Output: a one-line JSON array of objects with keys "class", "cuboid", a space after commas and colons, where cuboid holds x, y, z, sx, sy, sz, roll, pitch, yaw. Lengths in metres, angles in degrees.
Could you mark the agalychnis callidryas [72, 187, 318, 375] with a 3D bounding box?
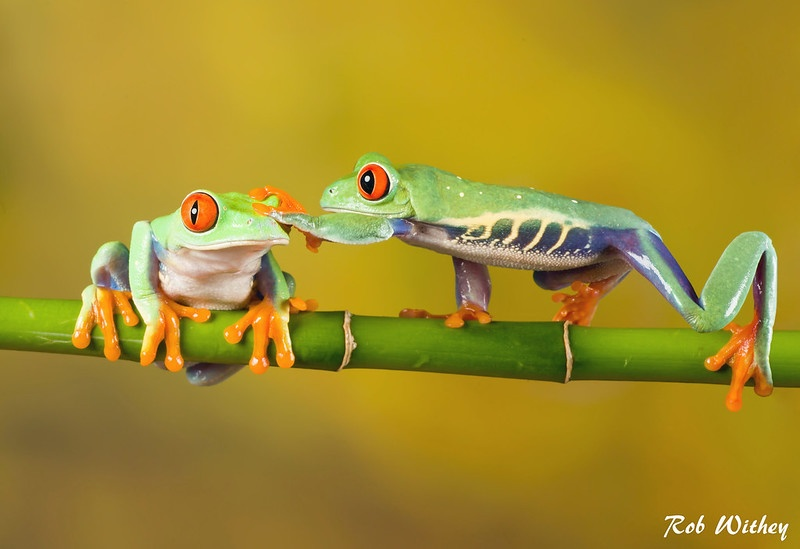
[{"class": "agalychnis callidryas", "cuboid": [-0.618, 0.008, 2.595, 0.687, 0.556, 0.274, 2, -1, 11]}]
